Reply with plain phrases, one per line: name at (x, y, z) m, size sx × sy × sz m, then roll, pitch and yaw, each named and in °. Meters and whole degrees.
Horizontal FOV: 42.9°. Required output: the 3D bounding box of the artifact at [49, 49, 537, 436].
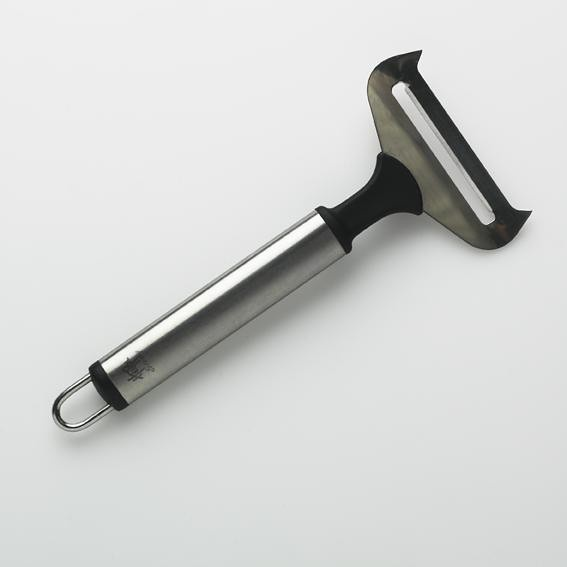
artifact at (0.024, -0.044, 1.060) m, size 0.840 × 0.350 × 0.087 m, roll -28°, pitch -4°, yaw 0°
